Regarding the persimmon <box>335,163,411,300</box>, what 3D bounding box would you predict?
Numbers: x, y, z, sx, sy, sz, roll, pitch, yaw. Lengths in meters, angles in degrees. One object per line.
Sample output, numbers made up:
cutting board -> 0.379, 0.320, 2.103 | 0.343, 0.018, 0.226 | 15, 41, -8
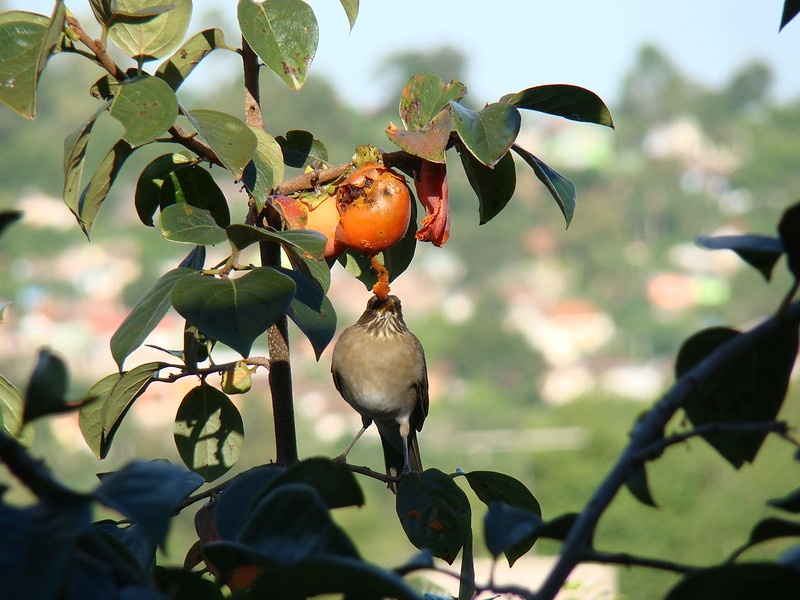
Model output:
persimmon -> -0.076, -0.262, 3.836 | 0.207, 0.218, 0.135 | 0, -34, 5

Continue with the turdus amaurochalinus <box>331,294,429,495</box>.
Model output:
turdus amaurochalinus -> -0.037, 0.302, 4.709 | 0.291, 0.720, 0.618 | 2, 1, 9

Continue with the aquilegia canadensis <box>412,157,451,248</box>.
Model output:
aquilegia canadensis -> 0.093, -0.276, 3.869 | 0.103, 0.187, 0.216 | 1, -35, 3
